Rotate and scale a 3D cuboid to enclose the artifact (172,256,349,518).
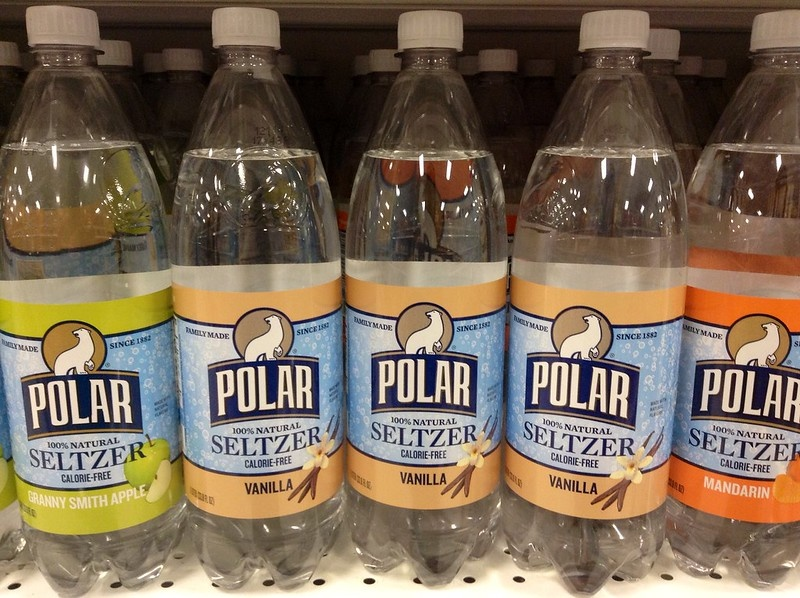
[{"bbox_3d":[-0.189,0.119,1.127,0.226,0.366,0.217,-3,9,-8],"label":"artifact"}]
